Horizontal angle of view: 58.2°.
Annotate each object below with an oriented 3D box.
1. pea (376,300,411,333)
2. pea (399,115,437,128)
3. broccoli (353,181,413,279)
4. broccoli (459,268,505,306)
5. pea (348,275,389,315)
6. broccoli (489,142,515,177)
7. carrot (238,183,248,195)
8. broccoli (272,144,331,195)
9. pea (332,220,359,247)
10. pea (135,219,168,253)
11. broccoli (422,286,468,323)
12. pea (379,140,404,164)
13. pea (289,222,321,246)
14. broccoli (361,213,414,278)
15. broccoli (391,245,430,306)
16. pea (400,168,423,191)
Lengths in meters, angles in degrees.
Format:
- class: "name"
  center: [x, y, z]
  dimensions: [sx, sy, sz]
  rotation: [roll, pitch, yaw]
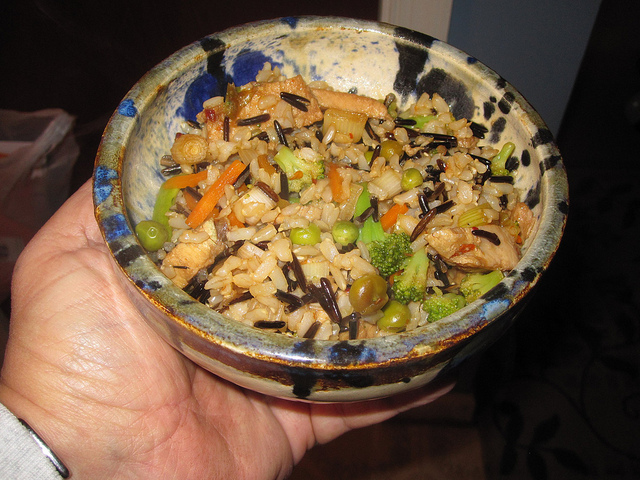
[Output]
- class: "pea"
  center: [0.410, 0.430, 3.199]
  dimensions: [0.132, 0.102, 0.180]
  rotation: [-4, 60, 11]
- class: "pea"
  center: [0.624, -0.765, 3.736]
  dimensions: [0.247, 0.071, 0.069]
  rotation: [-7, 19, 13]
- class: "broccoli"
  center: [0.340, -0.058, 3.352]
  dimensions: [0.286, 0.190, 0.455]
  rotation: [12, 54, -16]
- class: "broccoli"
  center: [0.898, 0.233, 3.260]
  dimensions: [0.250, 0.111, 0.134]
  rotation: [-28, 67, -17]
- class: "pea"
  center: [0.264, 0.298, 3.176]
  dimensions: [0.219, 0.140, 0.181]
  rotation: [-24, 66, -15]
- class: "broccoli"
  center: [1.093, -0.489, 3.529]
  dimensions: [0.116, 0.194, 0.082]
  rotation: [14, 16, -17]
- class: "carrot"
  center: [-0.469, -0.305, 3.445]
  dimensions: [0.056, 0.015, 0.052]
  rotation: [-45, 110, -34]
- class: "broccoli"
  center: [-0.127, -0.428, 3.473]
  dimensions: [0.288, 0.100, 0.307]
  rotation: [-15, 64, -3]
- class: "pea"
  center: [0.138, -0.042, 3.299]
  dimensions: [0.116, 0.118, 0.153]
  rotation: [7, 51, -6]
- class: "pea"
  center: [-0.970, -0.033, 3.291]
  dimensions: [0.149, 0.158, 0.182]
  rotation: [3, 61, -2]
- class: "broccoli"
  center: [0.682, 0.341, 3.253]
  dimensions: [0.243, 0.137, 0.198]
  rotation: [-30, 67, -18]
- class: "pea"
  center: [0.427, -0.555, 3.634]
  dimensions: [0.115, 0.144, 0.119]
  rotation: [-13, 94, -46]
- class: "pea"
  center: [-0.081, -0.026, 3.365]
  dimensions: [0.138, 0.113, 0.111]
  rotation: [-3, 48, -5]
- class: "broccoli"
  center: [0.402, 0.054, 3.398]
  dimensions: [0.265, 0.159, 0.371]
  rotation: [-29, 81, 8]
- class: "broccoli"
  center: [0.526, 0.211, 3.336]
  dimensions: [0.178, 0.131, 0.307]
  rotation: [9, 74, 10]
- class: "pea"
  center: [0.537, -0.363, 3.440]
  dimensions: [0.102, 0.098, 0.135]
  rotation: [33, 88, 14]
